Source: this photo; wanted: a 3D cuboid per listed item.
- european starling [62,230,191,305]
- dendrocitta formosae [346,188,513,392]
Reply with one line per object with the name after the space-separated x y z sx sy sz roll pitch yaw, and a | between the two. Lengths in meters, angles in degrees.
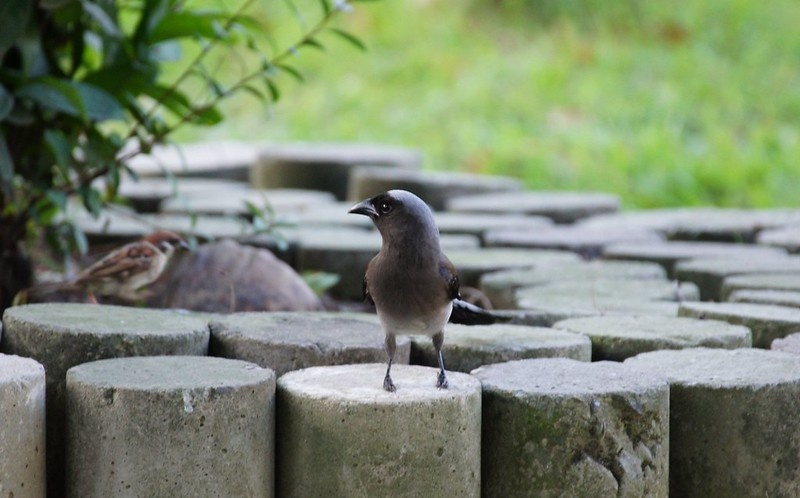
-1.688 0.171 7.446 0.778 0.687 0.271 0 52 -4 | european starling
0.119 0.231 6.563 0.609 0.591 1.049 1 87 -15 | dendrocitta formosae
